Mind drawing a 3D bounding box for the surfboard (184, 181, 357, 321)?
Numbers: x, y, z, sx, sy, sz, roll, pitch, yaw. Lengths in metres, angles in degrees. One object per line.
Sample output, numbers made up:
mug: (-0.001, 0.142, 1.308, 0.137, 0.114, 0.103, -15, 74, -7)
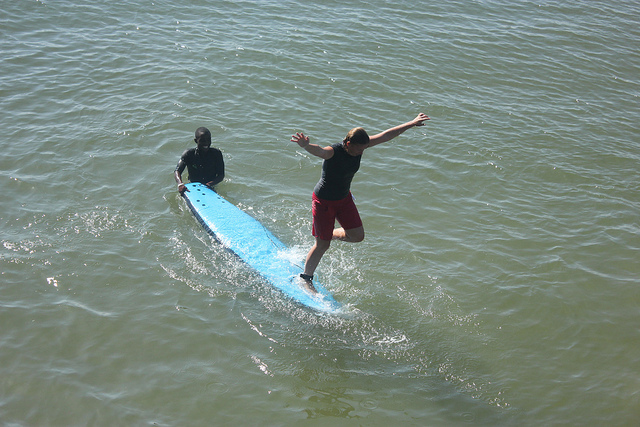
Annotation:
surfboard: (-1.556, 0.698, 23.349, 1.074, 0.499, 5.069, -39, 58, -20)
